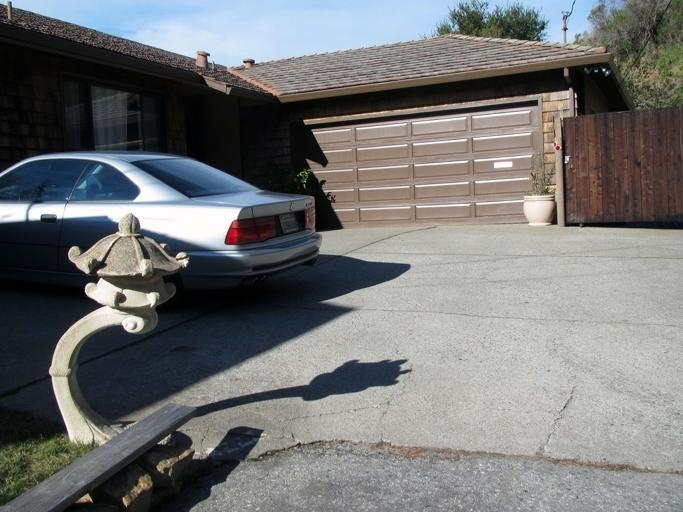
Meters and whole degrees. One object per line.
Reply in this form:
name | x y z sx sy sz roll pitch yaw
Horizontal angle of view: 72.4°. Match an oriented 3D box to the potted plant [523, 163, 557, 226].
potted plant | 4.721 -1.571 11.132 0.688 1.582 0.866 2 15 22
